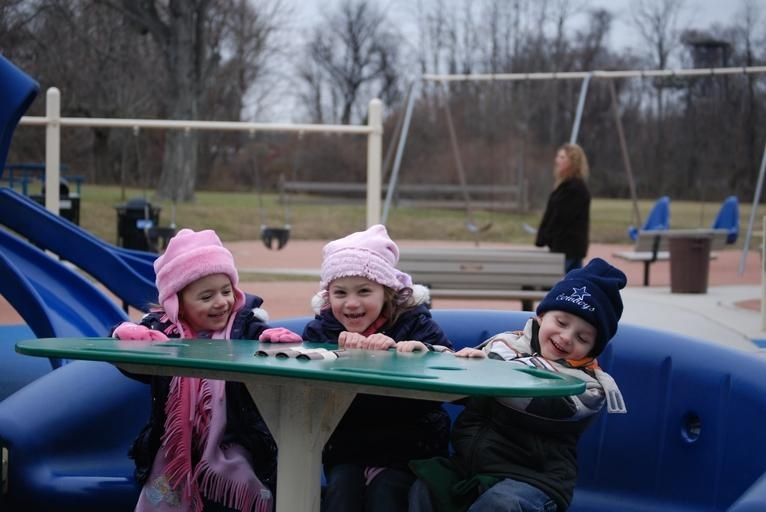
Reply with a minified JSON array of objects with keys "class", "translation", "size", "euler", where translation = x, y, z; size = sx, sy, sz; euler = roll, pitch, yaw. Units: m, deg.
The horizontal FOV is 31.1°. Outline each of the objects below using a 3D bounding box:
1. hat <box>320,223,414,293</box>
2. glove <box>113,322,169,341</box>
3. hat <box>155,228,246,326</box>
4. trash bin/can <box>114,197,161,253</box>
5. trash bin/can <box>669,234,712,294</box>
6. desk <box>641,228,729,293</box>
[{"class":"hat","translation":[-0.078,0.029,6.518],"size":[0.446,0.335,0.438],"euler":[2,-7,-27]},{"class":"glove","translation":[-1.087,0.349,6.124],"size":[0.111,0.050,0.152],"euler":[16,-7,-38]},{"class":"hat","translation":[-0.852,0.087,6.421],"size":[0.391,0.418,0.442],"euler":[-8,7,-18]},{"class":"trash bin/can","translation":[-2.178,-0.279,12.153],"size":[0.479,0.628,0.486],"euler":[1,8,-6]},{"class":"trash bin/can","translation":[1.541,0.061,7.034],"size":[0.236,0.333,0.335],"euler":[1,-1,8]},{"class":"desk","translation":[1.540,0.052,7.034],"size":[0.282,0.263,0.355],"euler":[-1,-2,17]}]
